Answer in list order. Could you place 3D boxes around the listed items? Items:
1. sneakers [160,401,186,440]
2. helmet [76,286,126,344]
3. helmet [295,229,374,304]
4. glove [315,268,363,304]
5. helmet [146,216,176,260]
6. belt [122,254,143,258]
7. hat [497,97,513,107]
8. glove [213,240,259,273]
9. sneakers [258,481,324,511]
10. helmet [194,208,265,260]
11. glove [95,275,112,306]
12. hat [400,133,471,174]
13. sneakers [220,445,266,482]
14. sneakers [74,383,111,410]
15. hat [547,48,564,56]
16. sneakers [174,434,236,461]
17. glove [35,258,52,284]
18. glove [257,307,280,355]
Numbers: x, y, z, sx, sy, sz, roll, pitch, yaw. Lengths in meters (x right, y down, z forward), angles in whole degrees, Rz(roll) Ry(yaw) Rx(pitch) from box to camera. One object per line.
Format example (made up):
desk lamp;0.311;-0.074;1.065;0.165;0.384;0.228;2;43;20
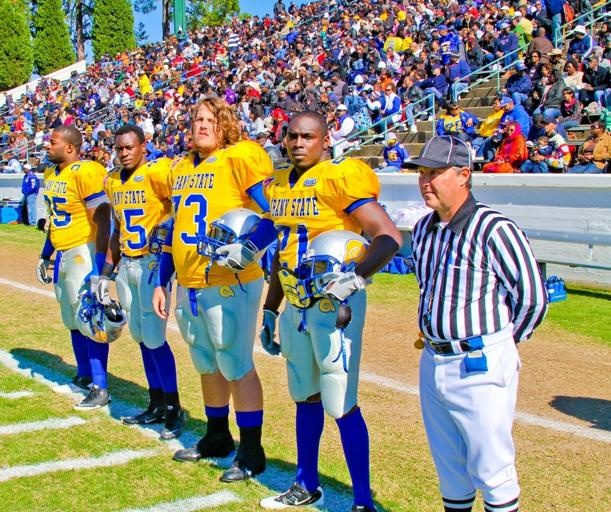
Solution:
sneakers;-1.013;1.250;5.264;0.168;0.214;0.249;-1;10;-4
helmet;-1.739;0.516;5.853;0.502;0.435;0.219;8;13;40
helmet;0.115;0.055;3.992;0.429;0.328;0.327;-6;-7;-15
glove;0.182;0.163;3.780;0.202;0.109;0.155;-12;-4;-37
helmet;-1.071;-0.117;5.169;0.180;0.335;0.458;-4;10;-16
belt;-1.341;0.011;5.391;0.192;0.035;0.035;7;12;36
hat;3.389;-2.587;11.741;0.221;0.122;0.312;-30;10;26
glove;-0.418;0.007;4.366;0.183;0.110;0.228;-7;1;-32
sneakers;-0.089;1.473;4.279;0.395;0.145;0.142;0;-2;-10
helmet;-0.503;-0.130;4.527;0.401;0.232;0.284;-8;4;-28
glove;-1.611;0.287;5.681;0.099;0.232;0.179;4;-1;-41
hat;0.694;-0.528;3.630;0.286;0.143;0.179;5;6;-9
sneakers;-0.400;1.382;4.579;0.133;0.143;0.349;-7;-13;36
sneakers;-1.758;1.190;5.789;0.334;0.195;0.114;4;-3;-25
hat;4.526;-3.683;12.538;0.302;0.095;0.300;5;33;21
sneakers;-0.716;1.354;4.918;0.411;0.154;0.155;1;-6;-11
glove;-2.793;0.170;7.386;0.172;0.382;0.139;-2;-6;17
glove;-0.242;0.495;4.390;0.090;0.247;0.184;-1;-5;-19
